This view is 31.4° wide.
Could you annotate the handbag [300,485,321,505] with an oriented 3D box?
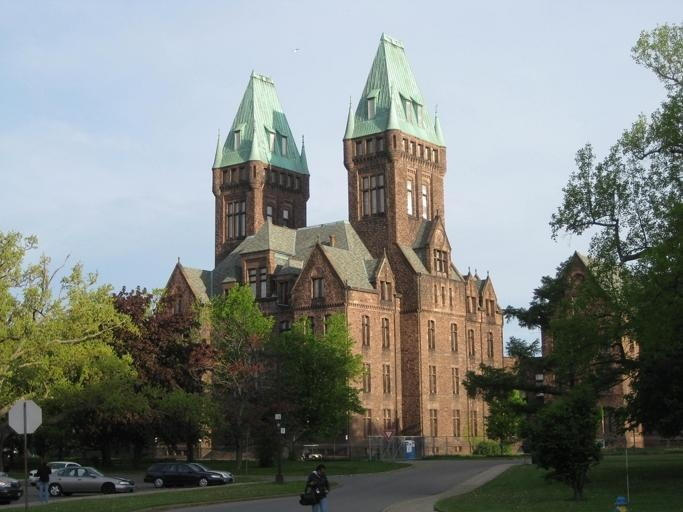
[{"bbox_3d":[-1.448,11.027,55.775,0.876,0.856,0.754,-1,-15,-5],"label":"handbag"}]
